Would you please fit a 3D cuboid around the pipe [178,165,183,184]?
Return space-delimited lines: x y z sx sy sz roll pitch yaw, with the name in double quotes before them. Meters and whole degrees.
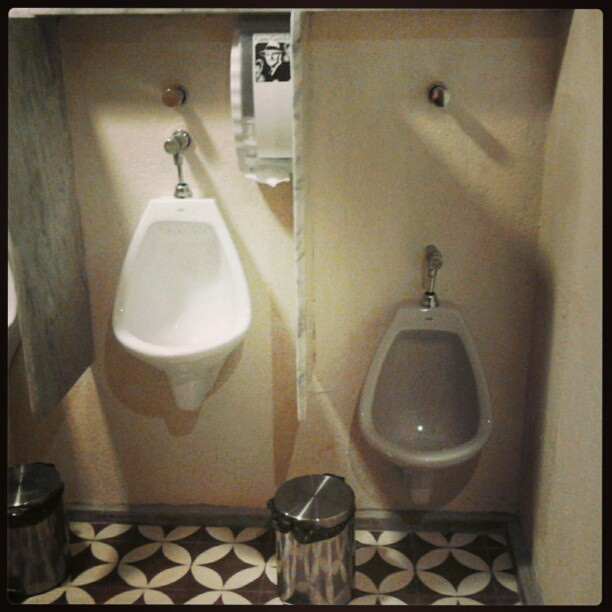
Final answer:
"pipe" -0.372 -0.385 2.059 0.015 0.051 0.010 -12 24 -17

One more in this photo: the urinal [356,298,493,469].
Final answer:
"urinal" 0.349 0.227 2.069 0.384 0.473 0.262 0 22 10

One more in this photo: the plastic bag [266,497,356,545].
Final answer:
"plastic bag" -0.006 0.615 1.994 0.230 0.094 0.081 2 22 14

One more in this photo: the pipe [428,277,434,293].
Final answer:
"pipe" 0.368 -0.063 2.070 0.015 0.042 0.026 7 24 25
